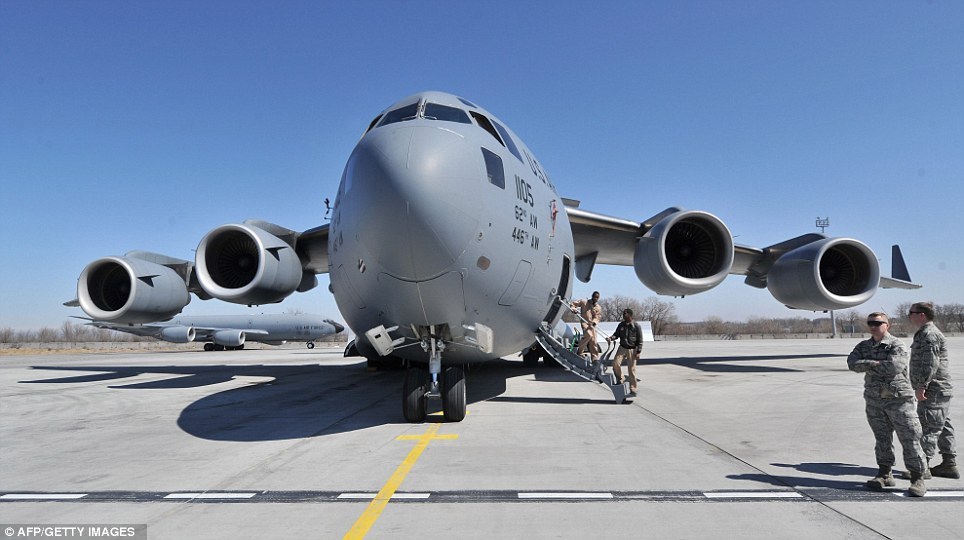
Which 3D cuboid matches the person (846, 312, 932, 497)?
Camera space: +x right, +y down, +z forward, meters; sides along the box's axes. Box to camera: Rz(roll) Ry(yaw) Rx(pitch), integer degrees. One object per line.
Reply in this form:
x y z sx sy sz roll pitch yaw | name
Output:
6.452 2.069 9.003 1.115 2.728 0.907 5 10 38 | person

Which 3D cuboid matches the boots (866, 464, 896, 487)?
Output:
6.266 3.231 8.927 0.424 0.369 0.185 1 8 15 | boots
